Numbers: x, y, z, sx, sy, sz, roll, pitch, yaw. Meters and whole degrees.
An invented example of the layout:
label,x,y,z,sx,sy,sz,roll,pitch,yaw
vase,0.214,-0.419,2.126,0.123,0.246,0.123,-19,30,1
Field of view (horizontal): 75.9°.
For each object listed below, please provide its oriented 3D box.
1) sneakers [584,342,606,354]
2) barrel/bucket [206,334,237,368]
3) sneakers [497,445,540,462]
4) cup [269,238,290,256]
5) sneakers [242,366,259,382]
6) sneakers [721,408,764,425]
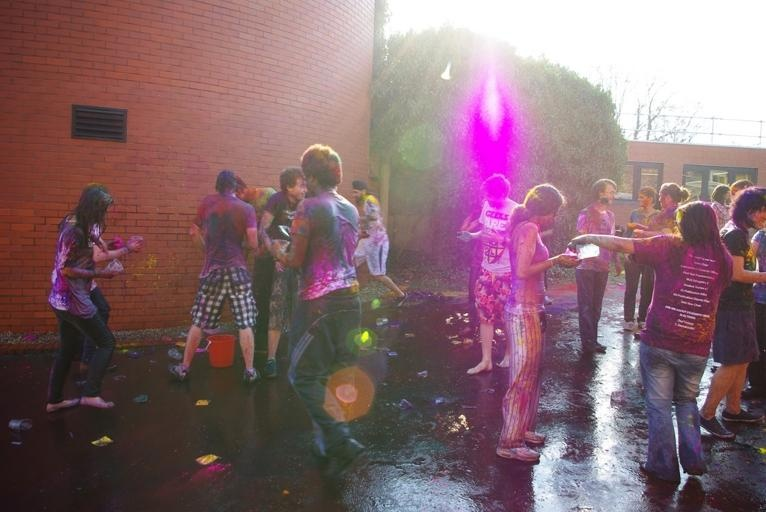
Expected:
label,x,y,z,sx,sy,sz,roll,pitch,yaw
sneakers,3.596,1.539,8.331,0.287,0.130,0.166,-1,4,14
barrel/bucket,-2.480,1.438,7.504,0.460,0.418,0.457,0,2,0
sneakers,1.496,2.129,5.421,0.424,0.192,0.171,-1,1,7
cup,-1.262,-0.115,6.002,0.270,0.236,0.227,1,6,10
sneakers,-1.843,1.643,6.851,0.177,0.176,0.172,-5,10,-7
sneakers,4.523,2.019,6.264,0.486,0.189,0.196,-1,-8,9
